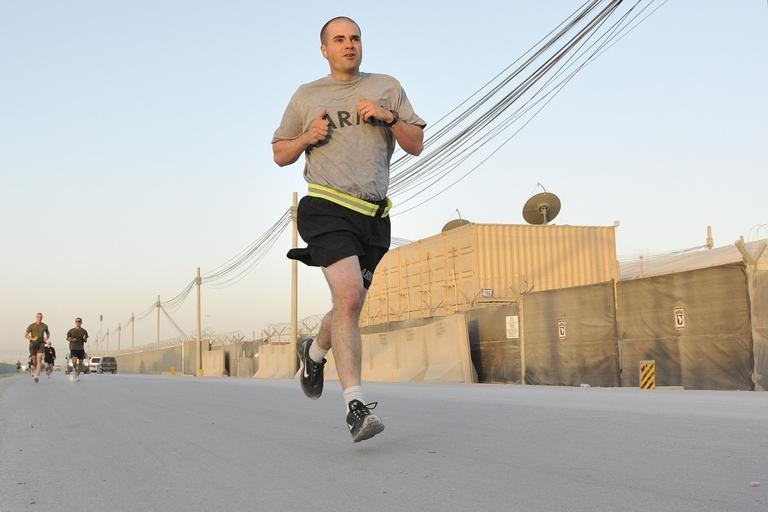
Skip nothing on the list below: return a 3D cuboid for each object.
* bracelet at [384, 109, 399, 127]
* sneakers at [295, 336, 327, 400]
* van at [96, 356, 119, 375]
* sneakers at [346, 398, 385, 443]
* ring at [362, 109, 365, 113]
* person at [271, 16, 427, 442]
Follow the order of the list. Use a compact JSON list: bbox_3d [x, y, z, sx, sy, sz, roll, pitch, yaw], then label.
[{"bbox_3d":[0.056,-1.033,4.608,0.158,0.153,0.106,2,2,-2],"label":"bracelet"},{"bbox_3d":[-0.628,1.006,5.362,0.197,0.605,0.251,-4,-8,-36],"label":"sneakers"},{"bbox_3d":[-23.462,9.443,52.492,1.413,1.396,2.996,1,1,-18],"label":"van"},{"bbox_3d":[-0.130,1.074,4.015,0.213,0.283,0.370,-2,-8,-4],"label":"sneakers"},{"bbox_3d":[-0.147,-1.041,4.422,0.023,0.024,0.007,0,1,7],"label":"ring"},{"bbox_3d":[-0.262,-0.298,4.546,1.111,3.159,0.833,-2,-7,0],"label":"person"}]
